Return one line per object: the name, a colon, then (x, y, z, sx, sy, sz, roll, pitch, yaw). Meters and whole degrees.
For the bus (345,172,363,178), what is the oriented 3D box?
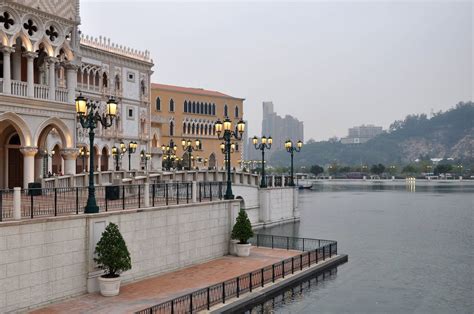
bus: (39.683, 6.147, 211.734, 2.807, 2.259, 7.331, 0, -4, -23)

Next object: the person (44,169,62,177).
person: (-17.386, 1.506, 59.665, 0.598, 0.768, 2.105, -1, -4, 6)

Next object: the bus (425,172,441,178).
bus: (62.882, 5.766, 203.184, 5.619, 1.674, 1.829, -3, 6, -7)
